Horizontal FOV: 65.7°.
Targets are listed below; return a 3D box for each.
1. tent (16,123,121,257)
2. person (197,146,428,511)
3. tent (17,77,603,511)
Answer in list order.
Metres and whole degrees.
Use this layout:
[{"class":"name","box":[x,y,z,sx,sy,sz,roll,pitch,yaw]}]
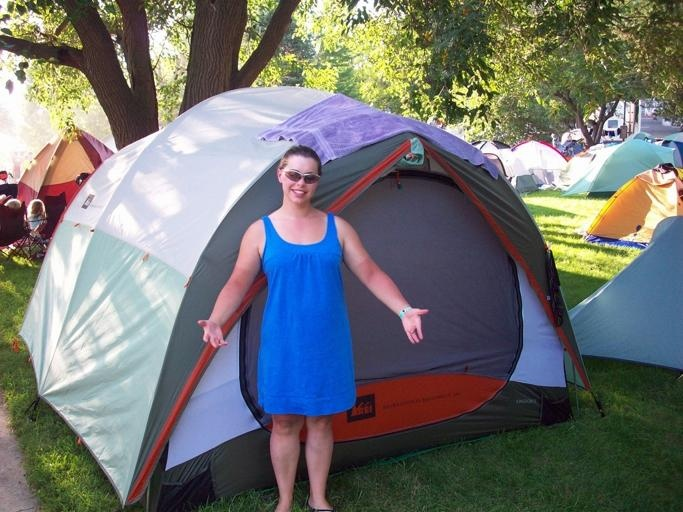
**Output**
[{"class":"tent","box":[-6.064,-2.147,11.848,1.994,1.069,2.151,-16,32,19]},{"class":"person","box":[-0.238,0.520,3.314,1.236,2.401,0.318,1,6,-6]},{"class":"tent","box":[-0.737,0.275,5.135,3.503,2.598,3.478,-5,10,-29]}]
